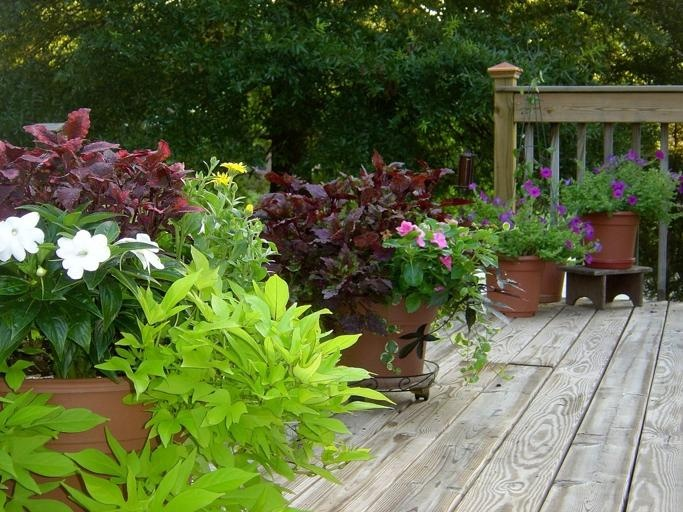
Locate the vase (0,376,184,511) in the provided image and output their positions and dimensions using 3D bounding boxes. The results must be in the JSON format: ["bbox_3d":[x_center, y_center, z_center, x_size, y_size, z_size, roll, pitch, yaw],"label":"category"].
[{"bbox_3d":[-0.475,0.314,1.193,0.291,0.192,0.275,0,-3,-1],"label":"vase"}]
